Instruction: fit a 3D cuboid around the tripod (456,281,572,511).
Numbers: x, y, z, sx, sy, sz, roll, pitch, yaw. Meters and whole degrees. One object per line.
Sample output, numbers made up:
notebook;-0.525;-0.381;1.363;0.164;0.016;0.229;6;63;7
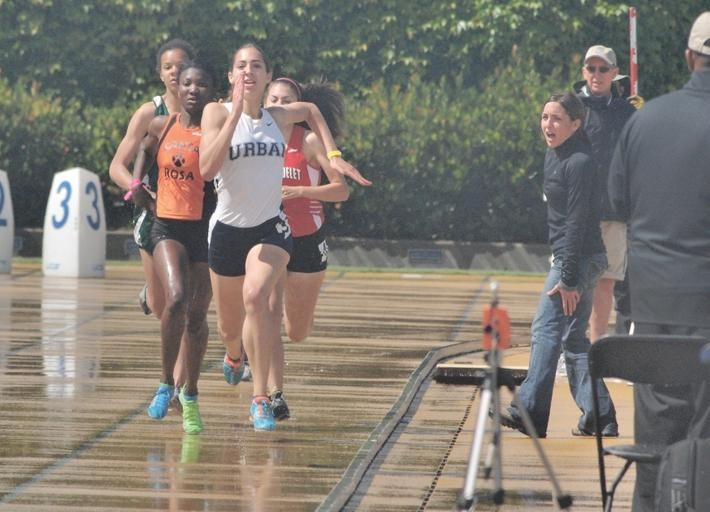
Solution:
tripod;1.185;1.065;12.452;0.762;1.765;1.424;0;0;6
